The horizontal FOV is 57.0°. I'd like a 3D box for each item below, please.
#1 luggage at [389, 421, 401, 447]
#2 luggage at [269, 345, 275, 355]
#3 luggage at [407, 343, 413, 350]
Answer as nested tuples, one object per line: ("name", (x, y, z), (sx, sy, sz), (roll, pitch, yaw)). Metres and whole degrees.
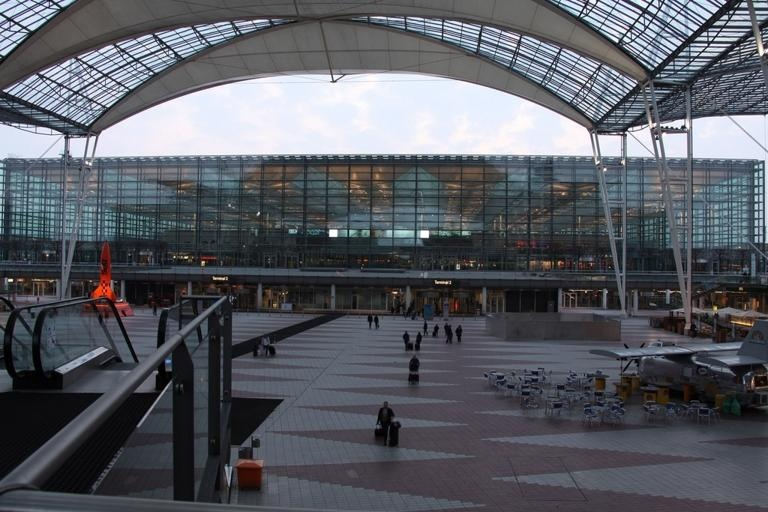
("luggage", (0.480, 9.244, 36.702), (0.602, 1.175, 0.602), (-1, 12, -6))
("luggage", (-8.199, 6.946, 51.580), (0.591, 0.662, 0.606), (2, 0, 4))
("luggage", (1.945, 7.078, 55.070), (0.416, 0.498, 0.560), (0, -4, 9))
